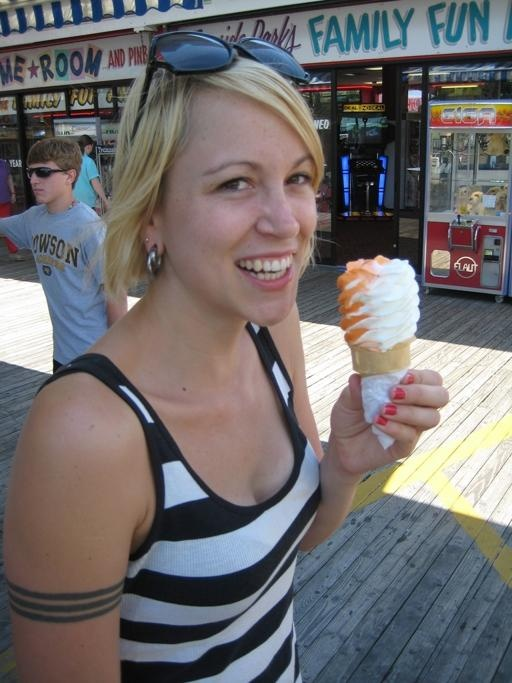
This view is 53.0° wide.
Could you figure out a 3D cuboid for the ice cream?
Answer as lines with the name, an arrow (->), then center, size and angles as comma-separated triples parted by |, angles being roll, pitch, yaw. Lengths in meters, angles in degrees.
ice cream -> 0.294, 0.023, 1.212 | 0.171, 0.430, 0.172 | -9, 16, -17
